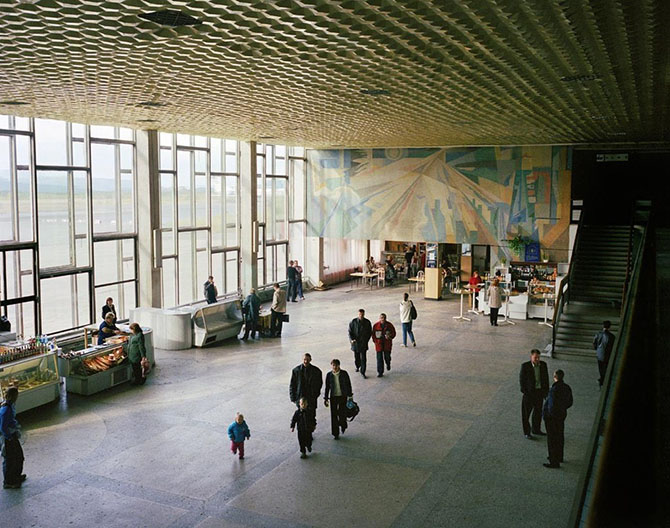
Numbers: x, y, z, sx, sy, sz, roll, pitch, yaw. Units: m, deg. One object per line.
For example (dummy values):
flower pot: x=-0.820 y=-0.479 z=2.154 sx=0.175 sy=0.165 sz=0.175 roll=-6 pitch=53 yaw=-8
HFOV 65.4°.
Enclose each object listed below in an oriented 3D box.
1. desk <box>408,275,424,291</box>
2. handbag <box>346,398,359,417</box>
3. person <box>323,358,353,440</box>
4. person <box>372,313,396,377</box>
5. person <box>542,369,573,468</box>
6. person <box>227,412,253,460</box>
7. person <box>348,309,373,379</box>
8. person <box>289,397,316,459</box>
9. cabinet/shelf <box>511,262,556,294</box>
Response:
desk: x=4.155 y=0.803 z=26.661 sx=0.729 sy=1.060 sz=1.107 roll=0 pitch=4 yaw=16
handbag: x=0.289 y=2.644 z=9.549 sx=0.260 sy=0.335 sz=0.334 roll=-4 pitch=15 yaw=-8
person: x=0.062 y=2.441 z=9.486 sx=0.460 sy=1.483 sz=0.568 roll=0 pitch=7 yaw=4
person: x=1.211 y=1.969 z=13.072 sx=0.535 sy=1.675 sz=1.096 roll=0 pitch=7 yaw=4
person: x=3.569 y=2.476 z=8.403 sx=0.415 sy=1.599 sz=0.299 roll=0 pitch=8 yaw=1
person: x=-1.607 y=2.865 z=8.729 sx=0.365 sy=0.684 sz=0.336 roll=3 pitch=-5 yaw=-19
person: x=0.658 y=1.914 z=12.992 sx=0.526 sy=1.756 sz=0.897 roll=0 pitch=7 yaw=4
person: x=-0.561 y=2.714 z=8.987 sx=0.359 sy=1.036 sz=0.595 roll=-1 pitch=7 yaw=-4
cabinet/shelf: x=7.891 y=0.573 z=20.481 sx=1.180 sy=1.025 sz=0.597 roll=3 pitch=6 yaw=33
